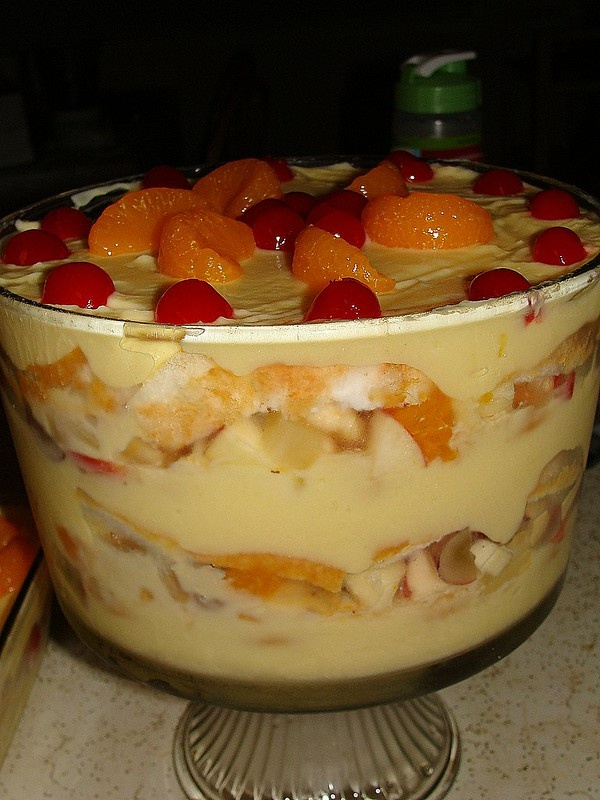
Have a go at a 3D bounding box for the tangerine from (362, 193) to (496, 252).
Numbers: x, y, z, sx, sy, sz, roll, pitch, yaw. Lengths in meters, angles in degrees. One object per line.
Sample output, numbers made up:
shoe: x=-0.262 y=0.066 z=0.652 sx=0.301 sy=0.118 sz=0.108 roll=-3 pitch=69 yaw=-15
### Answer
tangerine: x=0.115 y=-0.160 z=0.734 sx=0.102 sy=0.024 sz=0.060 roll=0 pitch=40 yaw=-4

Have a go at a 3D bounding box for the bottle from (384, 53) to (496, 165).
bottle: x=0.212 y=-0.434 z=1.257 sx=0.132 sy=0.168 sz=0.107 roll=-15 pitch=43 yaw=-8

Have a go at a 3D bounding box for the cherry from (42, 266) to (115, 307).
cherry: x=-0.155 y=-0.081 z=0.590 sx=0.051 sy=0.029 sz=0.042 roll=0 pitch=24 yaw=1

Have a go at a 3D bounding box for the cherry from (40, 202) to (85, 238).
cherry: x=-0.230 y=-0.175 z=0.821 sx=0.048 sy=0.023 sz=0.039 roll=-15 pitch=56 yaw=-25

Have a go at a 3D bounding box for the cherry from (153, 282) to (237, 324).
cherry: x=-0.070 y=-0.061 z=0.527 sx=0.043 sy=0.021 sz=0.034 roll=-5 pitch=52 yaw=-3

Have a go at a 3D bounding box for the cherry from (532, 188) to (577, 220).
cherry: x=0.245 y=-0.185 z=0.793 sx=0.043 sy=0.021 sz=0.037 roll=-1 pitch=35 yaw=3

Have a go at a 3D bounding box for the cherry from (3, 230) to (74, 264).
cherry: x=-0.231 y=-0.132 z=0.728 sx=0.054 sy=0.031 sz=0.035 roll=-3 pitch=-10 yaw=-13

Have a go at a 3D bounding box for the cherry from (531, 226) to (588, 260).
cherry: x=0.201 y=-0.123 z=0.648 sx=0.040 sy=0.018 sz=0.033 roll=-3 pitch=19 yaw=-6

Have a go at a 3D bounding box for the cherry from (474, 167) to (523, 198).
cherry: x=0.221 y=-0.240 z=0.917 sx=0.062 sy=0.017 sz=0.048 roll=2 pitch=31 yaw=6

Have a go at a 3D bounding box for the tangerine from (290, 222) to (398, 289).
tangerine: x=0.026 y=-0.103 z=0.625 sx=0.081 sy=0.043 sz=0.032 roll=27 pitch=4 yaw=18
